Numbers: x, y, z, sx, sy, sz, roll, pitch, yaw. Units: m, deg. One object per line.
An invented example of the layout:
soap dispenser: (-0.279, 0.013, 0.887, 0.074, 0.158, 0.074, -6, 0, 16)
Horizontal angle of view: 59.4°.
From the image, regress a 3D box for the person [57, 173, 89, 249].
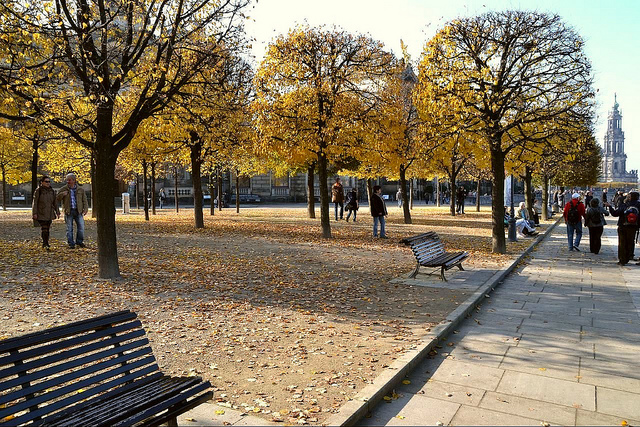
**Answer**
person: (-8.029, -0.096, 18.334, 0.782, 2.513, 1.083, -6, 13, -31)

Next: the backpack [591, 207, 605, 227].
backpack: (9.682, 0.138, 19.380, 0.423, 0.628, 0.597, -1, -10, 17)

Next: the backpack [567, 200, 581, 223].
backpack: (9.013, 0.038, 20.038, 0.415, 0.688, 0.709, 0, 9, 33)

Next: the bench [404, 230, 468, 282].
bench: (2.989, 1.028, 15.069, 1.165, 0.995, 2.017, 0, 4, 29)

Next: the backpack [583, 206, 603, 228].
backpack: (9.350, 0.075, 19.264, 0.440, 0.626, 0.628, -10, -22, 36)
